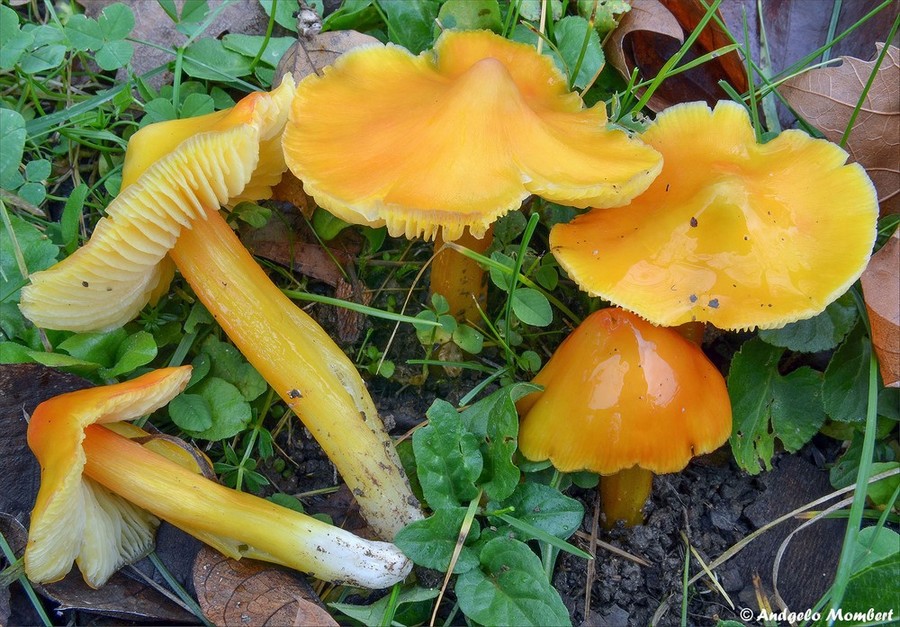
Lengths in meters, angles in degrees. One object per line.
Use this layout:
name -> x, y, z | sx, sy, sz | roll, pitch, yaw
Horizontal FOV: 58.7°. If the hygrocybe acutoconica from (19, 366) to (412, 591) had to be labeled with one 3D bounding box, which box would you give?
hygrocybe acutoconica -> -0.863, 0.560, 2.712 | 1.056, 0.596, 0.569 | -5, 50, 3
